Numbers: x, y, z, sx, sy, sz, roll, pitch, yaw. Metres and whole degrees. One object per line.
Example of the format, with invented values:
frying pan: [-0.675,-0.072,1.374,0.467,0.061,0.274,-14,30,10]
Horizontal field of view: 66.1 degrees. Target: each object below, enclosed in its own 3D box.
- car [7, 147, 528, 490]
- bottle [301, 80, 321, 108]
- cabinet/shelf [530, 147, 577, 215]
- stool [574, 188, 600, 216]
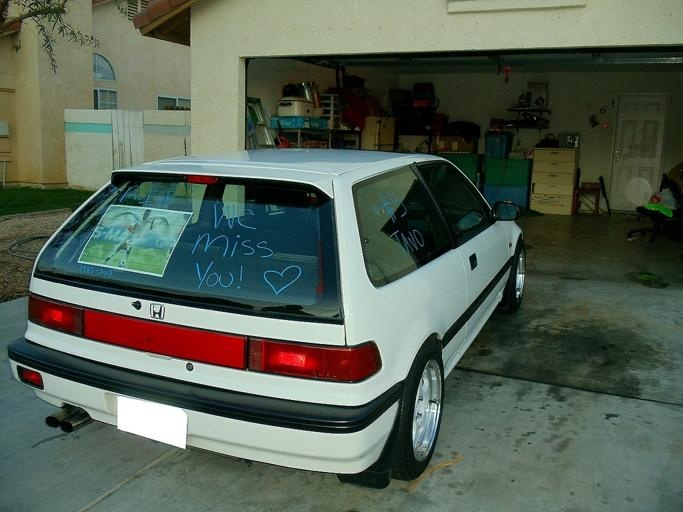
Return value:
car: [-0.030,-0.163,3.192,1.605,1.009,2.578,8,24,26]
bottle: [-0.566,-2.972,9.690,0.283,0.450,0.681,5,15,16]
cabinet/shelf: [5.284,-1.870,13.090,1.091,1.596,0.328,7,15,22]
stool: [6.269,-1.408,13.312,0.560,0.645,0.678,8,16,25]
